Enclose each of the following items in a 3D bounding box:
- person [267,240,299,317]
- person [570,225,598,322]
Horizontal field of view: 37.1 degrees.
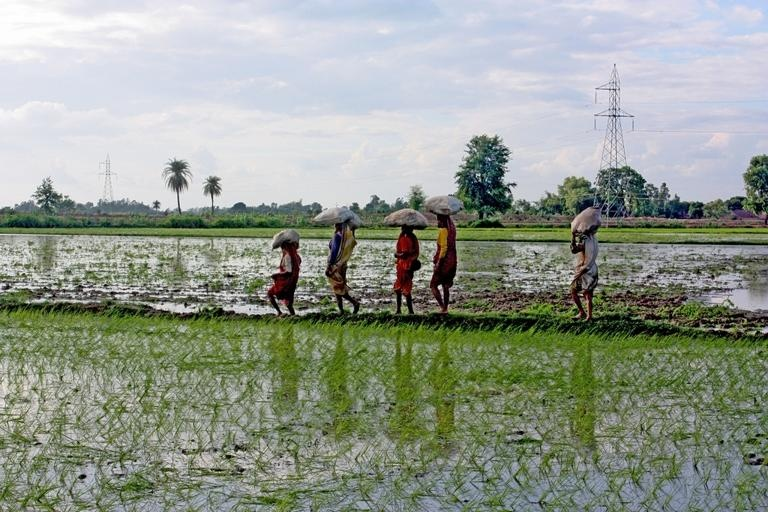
[{"bbox_3d":[-2.200,0.529,25.274,0.687,1.682,1.497,-1,11,-6],"label":"person"},{"bbox_3d":[4.317,0.346,24.568,0.552,1.890,0.963,2,11,8],"label":"person"}]
